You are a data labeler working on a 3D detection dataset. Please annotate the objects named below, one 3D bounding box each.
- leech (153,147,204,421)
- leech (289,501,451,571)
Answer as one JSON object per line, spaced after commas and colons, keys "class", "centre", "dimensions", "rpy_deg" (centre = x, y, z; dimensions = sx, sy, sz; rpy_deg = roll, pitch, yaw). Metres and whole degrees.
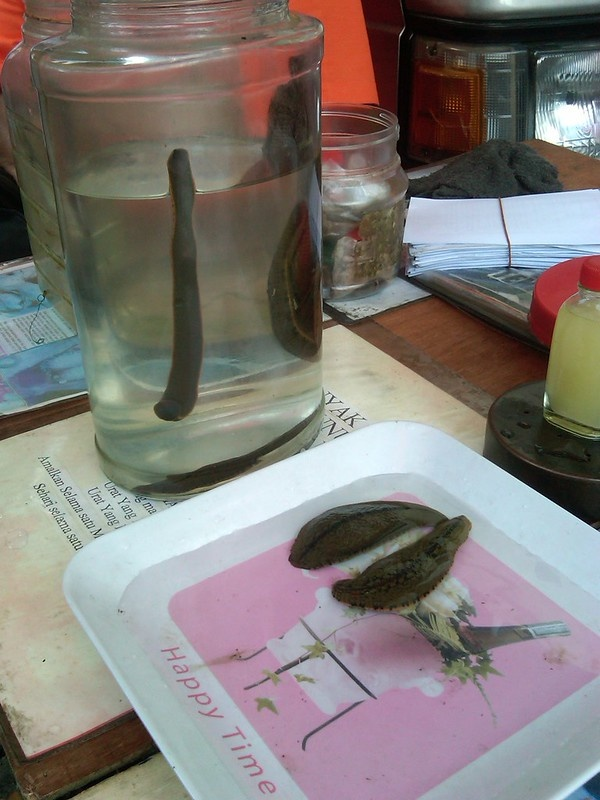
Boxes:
{"class": "leech", "centre": [-0.069, -0.059, 0.404], "dimensions": [0.028, 0.133, 0.020], "rpy_deg": [3, 27, -9]}
{"class": "leech", "centre": [0.039, 0.075, 0.413], "dimensions": [0.083, 0.016, 0.035], "rpy_deg": [-10, 34, -4]}
